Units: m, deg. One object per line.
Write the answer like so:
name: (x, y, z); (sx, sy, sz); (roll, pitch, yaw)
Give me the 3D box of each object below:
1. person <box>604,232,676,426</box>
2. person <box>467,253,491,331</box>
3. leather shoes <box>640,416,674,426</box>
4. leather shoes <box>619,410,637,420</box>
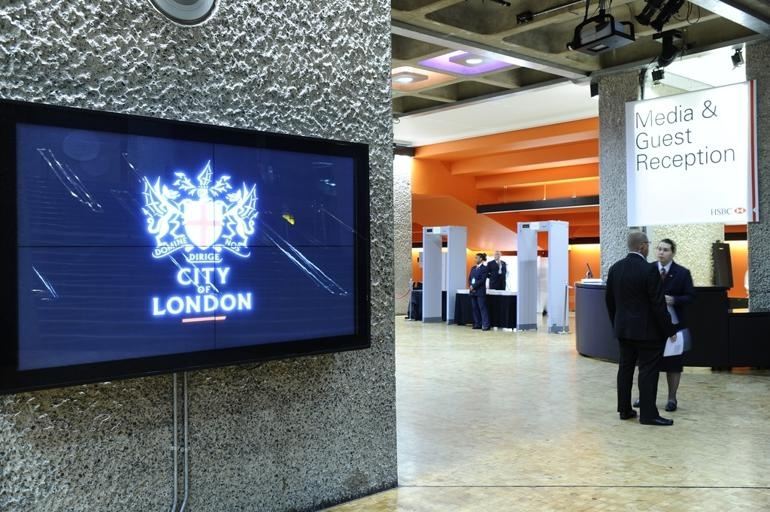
person: (2.733, 0.777, 6.055); (0.480, 2.129, 0.649); (-2, -1, -26)
person: (2.441, 0.893, 14.550); (0.453, 1.798, 0.897); (-2, -1, 8)
leather shoes: (2.928, 1.779, 6.116); (0.344, 0.130, 0.122); (-2, -4, 8)
leather shoes: (2.718, 1.770, 6.305); (0.240, 0.092, 0.086); (-3, 3, -40)
